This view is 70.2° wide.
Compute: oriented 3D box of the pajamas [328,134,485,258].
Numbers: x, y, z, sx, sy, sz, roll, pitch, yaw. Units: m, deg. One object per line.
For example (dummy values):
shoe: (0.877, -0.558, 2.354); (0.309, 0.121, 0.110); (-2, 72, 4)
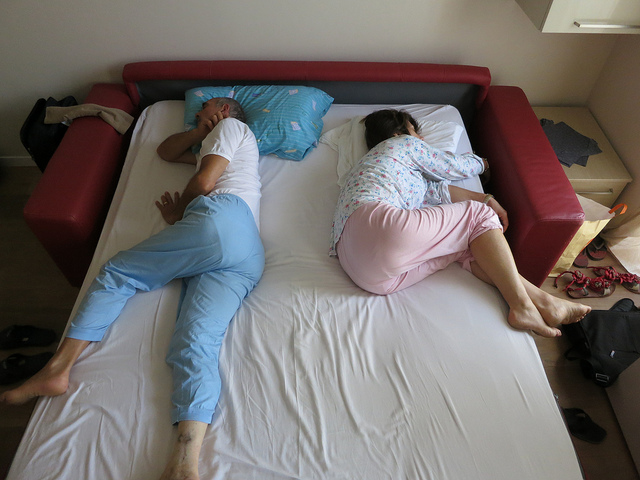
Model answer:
pajamas: (0.434, -0.202, 2.306); (0.511, 0.313, 0.892); (-1, 53, -3)

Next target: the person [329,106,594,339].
person: (0.617, -0.171, 2.436); (1.051, 0.514, 1.480); (-8, 59, 1)

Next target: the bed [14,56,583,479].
bed: (-0.127, -0.060, 2.370); (2.232, 0.505, 2.410); (0, 50, -5)

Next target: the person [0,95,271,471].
person: (-0.636, 0.144, 2.445); (0.959, 0.599, 1.911); (17, 58, 2)

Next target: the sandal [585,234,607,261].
sandal: (1.814, 0.059, 2.987); (0.200, 0.035, 0.121); (-34, 60, -28)

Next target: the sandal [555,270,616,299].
sandal: (1.625, 0.274, 2.759); (0.237, 0.065, 0.171); (-7, 56, 9)
